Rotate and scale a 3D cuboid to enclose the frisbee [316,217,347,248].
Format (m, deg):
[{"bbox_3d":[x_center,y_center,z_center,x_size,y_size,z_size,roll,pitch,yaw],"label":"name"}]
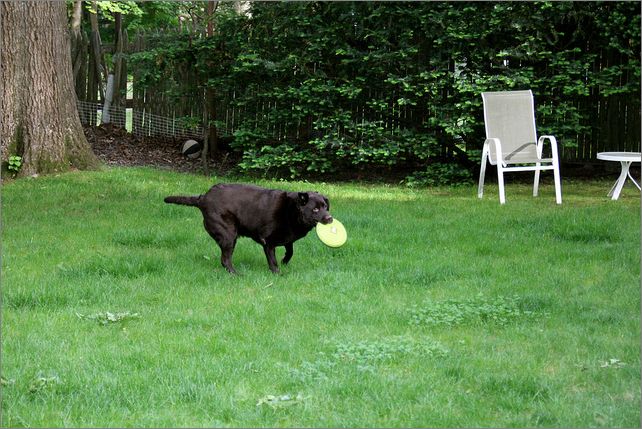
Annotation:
[{"bbox_3d":[0.130,0.273,12.812,0.393,0.089,0.385,31,35,-2],"label":"frisbee"}]

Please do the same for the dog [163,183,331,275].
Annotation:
[{"bbox_3d":[-1.025,0.208,13.072,2.638,1.139,0.690,3,9,18],"label":"dog"}]

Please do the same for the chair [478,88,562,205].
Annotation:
[{"bbox_3d":[3.401,-1.190,16.511,1.283,1.808,1.726,3,10,7],"label":"chair"}]
